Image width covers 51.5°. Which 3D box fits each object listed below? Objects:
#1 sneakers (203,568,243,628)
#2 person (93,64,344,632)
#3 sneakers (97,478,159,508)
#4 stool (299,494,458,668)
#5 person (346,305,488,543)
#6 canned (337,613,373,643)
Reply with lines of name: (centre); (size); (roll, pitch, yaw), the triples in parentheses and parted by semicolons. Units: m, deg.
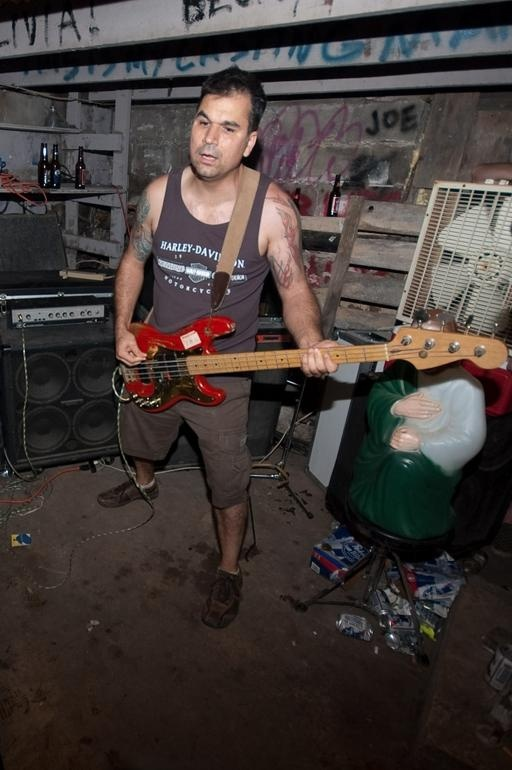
sneakers: (-0.153, 1.005, 2.481); (0.127, 0.109, 0.290); (6, 19, 7)
person: (-0.205, -0.087, 2.383); (1.241, 2.340, 0.466); (27, 29, 33)
sneakers: (-0.802, 0.649, 3.266); (0.384, 0.145, 0.151); (-2, 34, -27)
stool: (0.578, 0.869, 2.623); (0.365, 0.493, 0.346); (23, -15, -3)
person: (0.697, 0.191, 2.335); (0.521, 0.913, 0.360); (20, 27, 33)
canned: (0.479, 1.157, 2.536); (0.178, 0.043, 0.130); (4, 25, -13)
